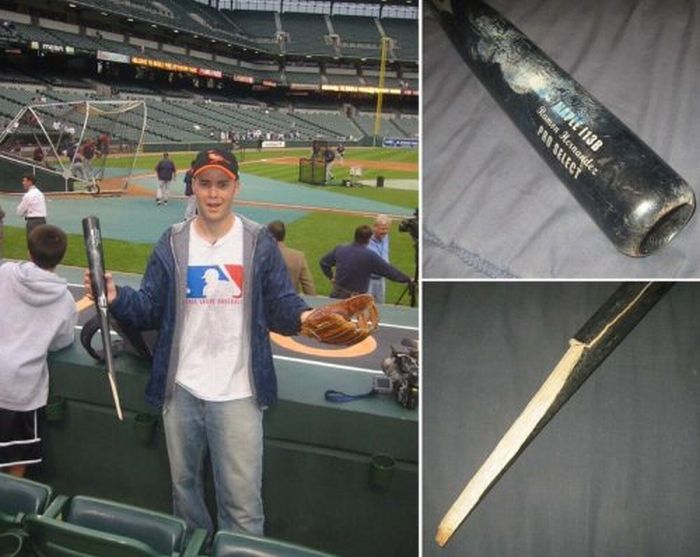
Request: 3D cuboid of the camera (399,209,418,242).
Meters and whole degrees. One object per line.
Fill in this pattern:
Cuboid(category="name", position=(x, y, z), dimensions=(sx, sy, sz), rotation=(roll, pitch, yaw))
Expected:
Cuboid(category="camera", position=(0.462, -0.379, 4.726), dimensions=(0.097, 0.247, 0.168), rotation=(1, 2, -17))

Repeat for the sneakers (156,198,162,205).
Cuboid(category="sneakers", position=(-3.869, -1.561, 13.252), dimensions=(0.092, 0.115, 0.257), rotation=(-2, 12, -16))

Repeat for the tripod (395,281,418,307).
Cuboid(category="tripod", position=(0.614, 0.182, 7.059), dimensions=(0.172, 0.270, 0.149), rotation=(-3, 41, -5))

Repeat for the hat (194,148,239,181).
Cuboid(category="hat", position=(-0.629, -0.579, 3.211), dimensions=(0.211, 0.165, 0.351), rotation=(1, 2, -2))

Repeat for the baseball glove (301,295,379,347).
Cuboid(category="baseball glove", position=(-0.015, 0.226, 3.176), dimensions=(0.236, 0.130, 0.315), rotation=(18, 25, 38))
